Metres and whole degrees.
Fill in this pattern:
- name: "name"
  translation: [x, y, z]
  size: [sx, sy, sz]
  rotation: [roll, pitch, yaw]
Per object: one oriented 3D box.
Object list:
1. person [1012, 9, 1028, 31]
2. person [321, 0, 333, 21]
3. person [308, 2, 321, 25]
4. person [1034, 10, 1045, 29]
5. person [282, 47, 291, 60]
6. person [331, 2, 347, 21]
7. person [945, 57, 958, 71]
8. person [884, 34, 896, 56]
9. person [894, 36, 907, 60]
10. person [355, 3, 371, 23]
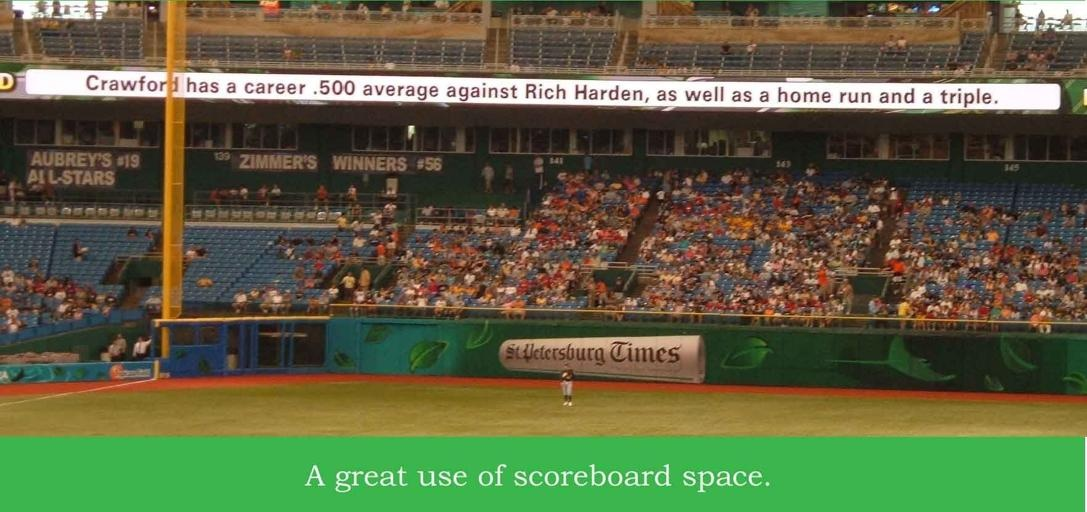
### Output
- name: "person"
  translation: [31.171, -15.350, 133.374]
  size: [0.618, 1.405, 0.672]
  rotation: [-5, 9, -40]
- name: "person"
  translation: [-14.316, -16.340, 136.829]
  size: [1.064, 1.084, 2.777]
  rotation: [-4, 10, -2]
- name: "person"
  translation: [-15.078, -16.108, 136.259]
  size: [0.655, 1.090, 1.747]
  rotation: [0, 6, -7]
- name: "person"
  translation: [32.561, -15.179, 132.977]
  size: [0.616, 1.149, 0.354]
  rotation: [2, 7, 10]
- name: "person"
  translation: [-16.688, -13.293, 134.678]
  size: [0.533, 0.688, 0.756]
  rotation: [-6, 9, -44]
- name: "person"
  translation: [-13.474, -16.163, 136.133]
  size: [1.235, 0.625, 1.426]
  rotation: [-8, 20, 4]
- name: "person"
  translation: [26.796, -12.537, 132.797]
  size: [0.744, 0.748, 0.637]
  rotation: [2, 6, 11]
- name: "person"
  translation: [22.712, -13.797, 133.269]
  size: [1.086, 1.158, 0.605]
  rotation: [2, 7, 8]
- name: "person"
  translation: [23.579, -13.587, 133.208]
  size: [0.704, 1.285, 0.537]
  rotation: [2, 7, 7]
- name: "person"
  translation: [-11.825, -16.056, 135.814]
  size: [1.349, 1.164, 0.513]
  rotation: [-6, 15, -6]
